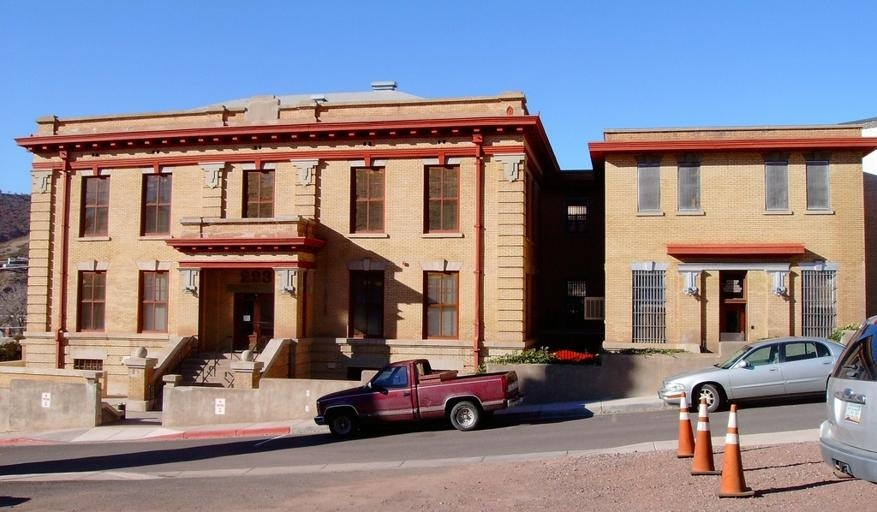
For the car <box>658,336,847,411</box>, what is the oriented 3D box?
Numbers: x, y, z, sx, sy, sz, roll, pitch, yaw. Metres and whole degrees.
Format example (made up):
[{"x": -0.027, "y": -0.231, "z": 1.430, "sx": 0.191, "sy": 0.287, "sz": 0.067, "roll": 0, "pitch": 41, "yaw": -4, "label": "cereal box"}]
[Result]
[{"x": 12.106, "y": 4.513, "z": 38.464, "sx": 8.090, "sy": 1.848, "sz": 2.834, "roll": -1, "pitch": -4, "yaw": 4, "label": "car"}]

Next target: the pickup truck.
[{"x": -0.920, "y": 5.689, "z": 38.100, "sx": 10.075, "sy": 2.623, "sz": 3.026, "roll": 0, "pitch": -2, "yaw": 4, "label": "pickup truck"}]
